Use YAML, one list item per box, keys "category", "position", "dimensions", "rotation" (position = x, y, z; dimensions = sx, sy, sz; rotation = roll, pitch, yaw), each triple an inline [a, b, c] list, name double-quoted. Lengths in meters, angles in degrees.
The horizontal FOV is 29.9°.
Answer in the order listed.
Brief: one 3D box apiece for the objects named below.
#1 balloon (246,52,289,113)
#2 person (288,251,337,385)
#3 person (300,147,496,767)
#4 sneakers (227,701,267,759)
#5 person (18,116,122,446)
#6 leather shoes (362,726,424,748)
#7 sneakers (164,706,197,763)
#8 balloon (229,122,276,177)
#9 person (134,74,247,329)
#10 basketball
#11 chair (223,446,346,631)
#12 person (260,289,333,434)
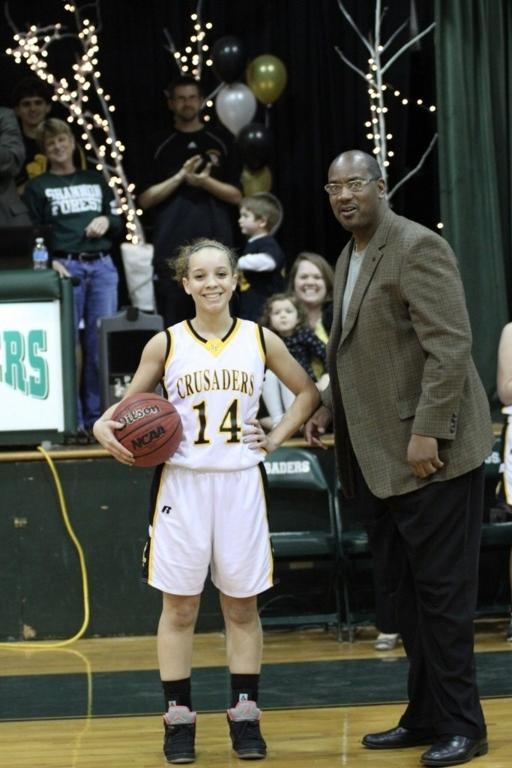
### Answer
- category: "balloon"
  position: [0.059, -1.994, 6.292]
  dimensions: [0.316, 0.316, 0.282]
  rotation: [-3, 0, 8]
- category: "person"
  position: [0.295, -0.309, 5.187]
  dimensions: [0.335, 0.794, 0.259]
  rotation: [-1, 3, 9]
- category: "person"
  position: [0.410, 0.191, 2.713]
  dimensions: [0.379, 1.708, 0.528]
  rotation: [-9, 8, -38]
- category: "sneakers"
  position: [-0.027, 0.974, 2.704]
  dimensions: [0.102, 0.156, 0.116]
  rotation: [-4, 6, -1]
- category: "person"
  position: [-1.054, -0.650, 5.651]
  dimensions: [0.714, 1.882, 0.585]
  rotation: [-4, -6, -26]
- category: "leather shoes"
  position: [0.396, 1.015, 2.742]
  dimensions: [0.190, 0.064, 0.065]
  rotation: [3, -7, -5]
- category: "sneakers"
  position: [-0.218, 0.980, 2.687]
  dimensions: [0.094, 0.153, 0.096]
  rotation: [-5, 6, -7]
- category: "balloon"
  position: [-0.012, -1.492, 6.047]
  dimensions: [0.279, 0.285, 0.255]
  rotation: [3, -7, -19]
- category: "person"
  position: [-0.442, -1.057, 6.196]
  dimensions: [0.642, 1.855, 0.545]
  rotation: [3, 37, 2]
- category: "basketball"
  position: [-0.303, 0.135, 2.676]
  dimensions: [0.164, 0.210, 0.167]
  rotation: [-10, 8, -44]
- category: "chair"
  position: [0.151, 0.696, 4.309]
  dimensions: [0.540, 0.770, 0.481]
  rotation: [-3, 0, 11]
- category: "person"
  position: [0.134, -0.105, 4.672]
  dimensions: [0.465, 0.653, 0.407]
  rotation: [0, 17, 18]
